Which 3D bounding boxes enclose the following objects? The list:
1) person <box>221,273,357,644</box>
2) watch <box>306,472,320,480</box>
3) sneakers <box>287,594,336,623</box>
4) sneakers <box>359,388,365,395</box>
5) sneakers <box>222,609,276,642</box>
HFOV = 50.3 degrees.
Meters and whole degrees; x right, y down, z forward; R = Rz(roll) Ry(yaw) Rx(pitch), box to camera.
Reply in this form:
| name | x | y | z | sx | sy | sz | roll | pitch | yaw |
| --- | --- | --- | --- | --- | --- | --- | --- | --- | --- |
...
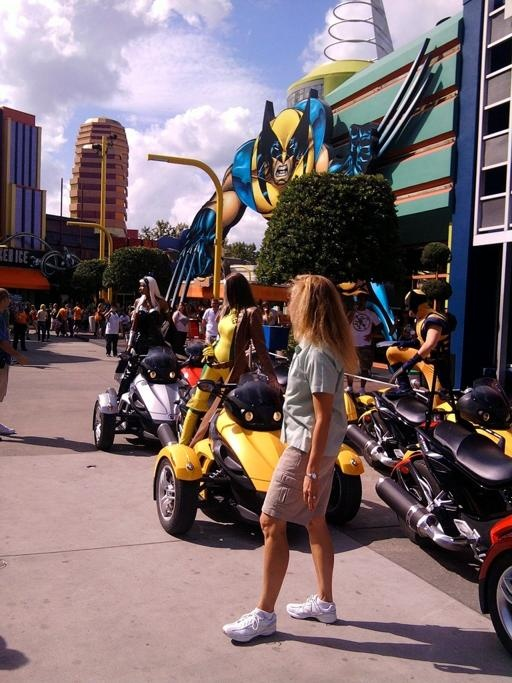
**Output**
| name | x | y | z | sx | sy | sz | roll | pitch | yaw |
| --- | --- | --- | --- | --- | --- | --- | --- | --- | --- |
| person | 0.187 | 0.468 | 2.441 | 0.440 | 1.604 | 0.491 | 2 | -2 | 21 |
| watch | 0.236 | 0.550 | 2.234 | 0.052 | 0.027 | 0.036 | 3 | -2 | -5 |
| sneakers | 0.269 | 1.227 | 2.532 | 0.236 | 0.108 | 0.093 | 3 | -6 | 14 |
| sneakers | 1.840 | 0.859 | 9.421 | 0.100 | 0.100 | 0.144 | -3 | -34 | 25 |
| sneakers | -0.009 | 1.194 | 2.331 | 0.250 | 0.119 | 0.099 | 7 | -8 | -27 |
